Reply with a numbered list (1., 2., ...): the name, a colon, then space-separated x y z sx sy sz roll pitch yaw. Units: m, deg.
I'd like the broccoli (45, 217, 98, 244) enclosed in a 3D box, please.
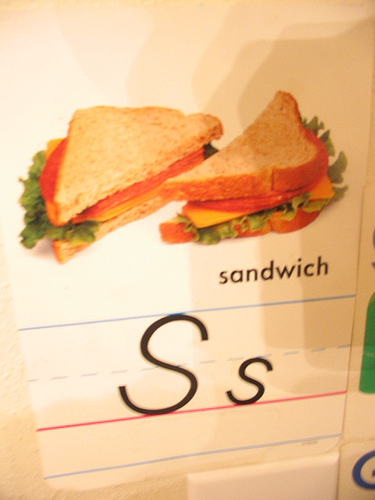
1. broccoli: -0.319 -0.053 1.443 0.106 0.089 0.034 4 -26 0
